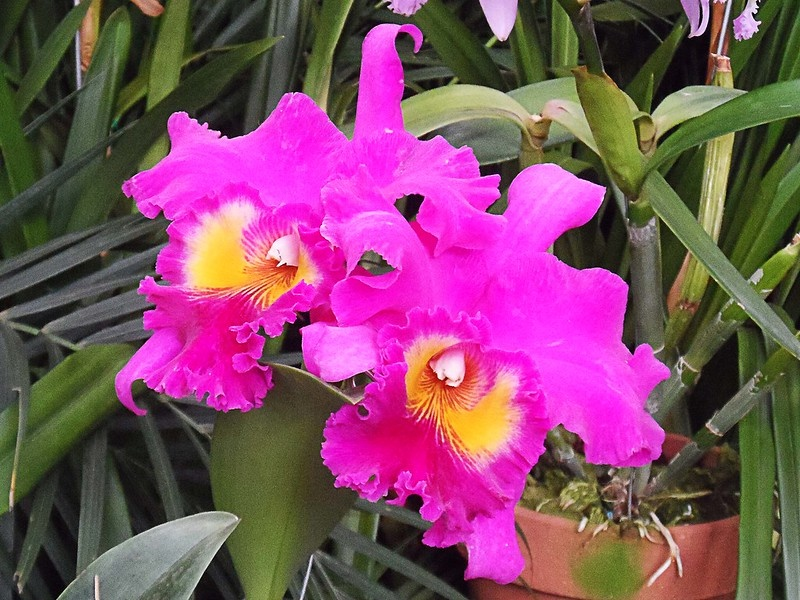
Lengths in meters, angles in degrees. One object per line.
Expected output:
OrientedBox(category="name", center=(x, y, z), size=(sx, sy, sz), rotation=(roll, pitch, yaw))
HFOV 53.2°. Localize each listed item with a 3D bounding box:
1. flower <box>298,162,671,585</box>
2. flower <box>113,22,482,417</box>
OrientedBox(category="flower", center=(0.057, 0.045, 0.592), size=(0.261, 0.318, 0.109), rotation=(2, 2, -11))
OrientedBox(category="flower", center=(-0.092, -0.036, 0.649), size=(0.203, 0.301, 0.083), rotation=(15, -14, 15))
